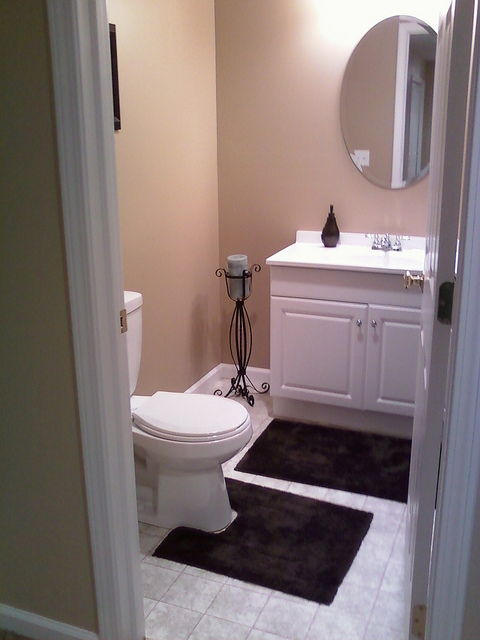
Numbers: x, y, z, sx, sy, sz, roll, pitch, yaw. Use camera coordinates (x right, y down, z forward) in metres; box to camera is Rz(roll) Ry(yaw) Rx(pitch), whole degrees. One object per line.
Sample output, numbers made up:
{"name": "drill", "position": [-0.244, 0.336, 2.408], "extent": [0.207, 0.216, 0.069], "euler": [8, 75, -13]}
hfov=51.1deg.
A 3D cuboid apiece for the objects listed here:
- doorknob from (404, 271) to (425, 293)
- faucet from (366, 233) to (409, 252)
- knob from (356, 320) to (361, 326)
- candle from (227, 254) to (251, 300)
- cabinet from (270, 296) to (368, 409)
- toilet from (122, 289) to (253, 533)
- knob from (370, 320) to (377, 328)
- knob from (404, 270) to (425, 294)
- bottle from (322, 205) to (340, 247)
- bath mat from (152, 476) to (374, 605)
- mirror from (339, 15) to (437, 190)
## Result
{"name": "doorknob", "position": [0.637, -0.140, 1.829], "extent": [0.063, 0.111, 0.095], "euler": [5, 16, 25]}
{"name": "faucet", "position": [0.786, -0.400, 2.665], "extent": [0.227, 0.082, 0.219], "euler": [5, 15, 18]}
{"name": "knob", "position": [0.587, 0.018, 2.482], "extent": [0.021, 0.031, 0.014], "euler": [3, 10, 17]}
{"name": "candle", "position": [-0.006, -0.248, 2.931], "extent": [0.071, 0.268, 0.104], "euler": [-8, 19, -14]}
{"name": "cabinet", "position": [0.432, -0.035, 2.783], "extent": [0.449, 0.914, 0.441], "euler": [5, 14, 21]}
{"name": "toilet", "position": [-0.333, 0.344, 1.988], "extent": [0.382, 0.838, 0.332], "euler": [-1, 16, 4]}
{"name": "knob", "position": [0.654, 0.023, 2.450], "extent": [0.017, 0.040, 0.013], "euler": [-1, -1, 27]}
{"name": "knob", "position": [0.639, -0.139, 1.832], "extent": [0.063, 0.088, 0.102], "euler": [6, 18, 24]}
{"name": "bottle", "position": [0.522, -0.531, 2.842], "extent": [0.107, 0.234, 0.076], "euler": [-7, 11, -34]}
{"name": "bath mat", "position": [0.110, 0.824, 1.925], "extent": [0.774, 0.037, 0.546], "euler": [5, 16, 19]}
{"name": "mirror", "position": [0.808, -1.100, 2.610], "extent": [0.527, 1.170, 0.037], "euler": [5, -23, 18]}
